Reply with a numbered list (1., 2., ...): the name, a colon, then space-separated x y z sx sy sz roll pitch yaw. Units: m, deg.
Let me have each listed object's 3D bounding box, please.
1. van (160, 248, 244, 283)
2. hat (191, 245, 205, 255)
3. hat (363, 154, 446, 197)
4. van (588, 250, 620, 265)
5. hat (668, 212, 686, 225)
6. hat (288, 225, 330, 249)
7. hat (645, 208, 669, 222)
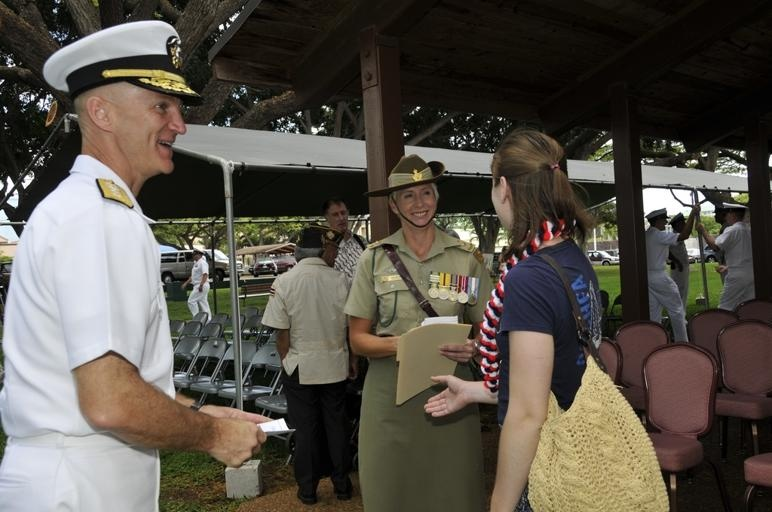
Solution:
1. van: -7.430 0.243 23.216 2.676 1.361 1.560 -4 0 -1
2. hat: -6.940 -0.358 21.856 0.510 0.265 0.631 3 -7 29
3. hat: 0.135 -0.519 4.089 0.301 0.144 0.349 -17 -10 -23
4. van: 18.484 -0.101 50.404 1.909 0.937 1.120 -3 6 -4
5. hat: 5.463 -0.772 11.113 0.295 0.127 0.216 -31 7 -16
6. hat: -0.704 -0.210 5.646 0.259 0.202 0.190 5 0 -15
7. hat: 4.673 -0.762 10.277 0.260 0.116 0.216 -8 2 6
